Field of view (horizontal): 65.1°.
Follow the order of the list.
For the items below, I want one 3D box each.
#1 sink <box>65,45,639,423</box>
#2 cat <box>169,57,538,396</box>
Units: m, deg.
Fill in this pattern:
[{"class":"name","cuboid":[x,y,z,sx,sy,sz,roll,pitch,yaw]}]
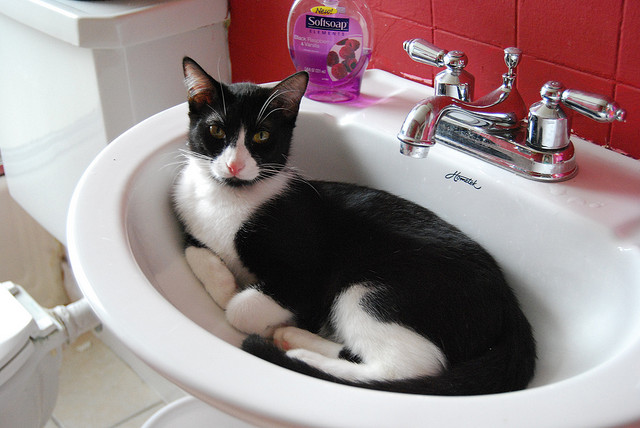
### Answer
[{"class":"sink","cuboid":[0.087,0.017,0.815,0.574,0.385,0.687,-26,40,-30]},{"class":"cat","cuboid":[0.036,0.027,0.905,0.717,0.492,0.460,11,11,17]}]
